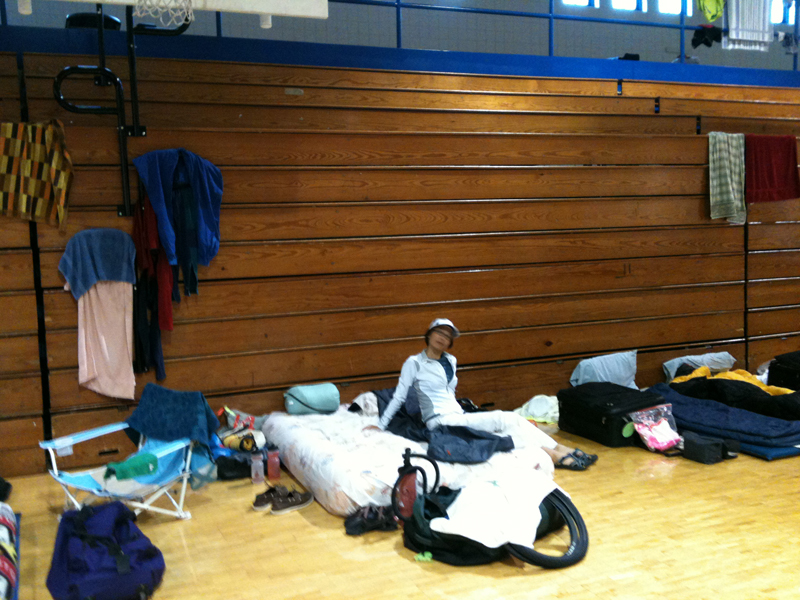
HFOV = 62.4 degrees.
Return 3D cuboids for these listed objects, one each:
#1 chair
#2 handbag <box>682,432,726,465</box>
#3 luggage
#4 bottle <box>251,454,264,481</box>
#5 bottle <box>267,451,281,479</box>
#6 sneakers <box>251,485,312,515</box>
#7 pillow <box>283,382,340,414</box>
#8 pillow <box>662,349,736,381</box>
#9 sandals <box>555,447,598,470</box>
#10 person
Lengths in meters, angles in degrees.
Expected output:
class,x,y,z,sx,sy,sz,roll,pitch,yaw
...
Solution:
class,x,y,z,sx,sy,sz,roll,pitch,yaw
chair,-1.874,1.068,4.501,0.734,0.681,0.946,10,8,23
handbag,2.451,1.183,5.293,0.211,0.156,0.263,-1,-3,-39
luggage,1.894,1.001,5.974,0.699,0.384,0.849,-11,10,-33
bottle,-1.112,1.297,5.097,0.093,0.203,0.063,-7,12,-23
bottle,-1.003,1.283,5.164,0.101,0.233,0.109,-2,11,0
sneakers,-0.844,1.421,4.701,0.279,0.087,0.200,1,0,-43
pillow,-0.770,0.860,5.721,0.499,0.222,0.329,-2,10,-6
pillow,3.103,0.639,6.802,0.499,0.141,0.356,-3,2,-14
sandals,1.410,1.259,5.197,0.235,0.080,0.162,-5,8,-30
person,0.742,0.784,5.591,1.972,0.983,0.749,13,1,-12
